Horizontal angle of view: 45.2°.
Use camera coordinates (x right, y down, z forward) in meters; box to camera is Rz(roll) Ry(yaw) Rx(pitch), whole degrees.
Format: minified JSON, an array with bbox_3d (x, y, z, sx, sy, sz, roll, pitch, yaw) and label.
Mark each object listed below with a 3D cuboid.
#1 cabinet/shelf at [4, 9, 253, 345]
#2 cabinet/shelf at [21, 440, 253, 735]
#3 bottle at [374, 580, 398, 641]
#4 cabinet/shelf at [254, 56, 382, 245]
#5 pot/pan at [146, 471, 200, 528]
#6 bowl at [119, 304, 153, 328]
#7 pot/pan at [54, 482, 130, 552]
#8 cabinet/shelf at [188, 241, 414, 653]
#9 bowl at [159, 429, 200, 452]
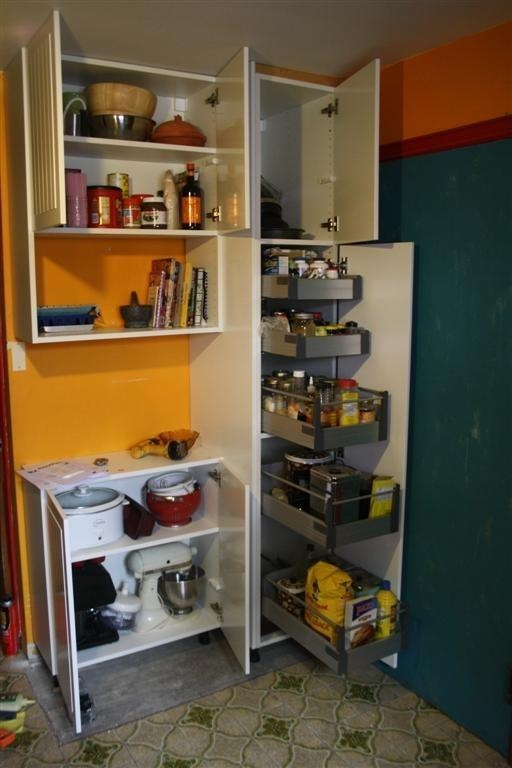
[{"bbox_3d":[-0.372,-0.553,1.897,0.713,0.873,0.697,-4,7,-37],"label":"cabinet/shelf"},{"bbox_3d":[-0.329,0.595,2.041,0.657,0.618,0.499,-5,2,-14],"label":"cabinet/shelf"},{"bbox_3d":[0.401,0.691,1.889,0.069,0.146,0.161,1,6,14],"label":"bottle"},{"bbox_3d":[0.187,-0.765,2.108,0.341,0.519,0.469,-34,49,-26],"label":"cabinet/shelf"},{"bbox_3d":[-0.311,0.420,2.287,0.195,0.137,0.179,-4,4,-24],"label":"pot/pan"},{"bbox_3d":[-0.409,-0.230,2.102,0.092,0.068,0.091,0,8,0],"label":"bowl"},{"bbox_3d":[-0.527,0.430,1.995,0.196,0.159,0.210,-7,16,-29],"label":"pot/pan"},{"bbox_3d":[0.164,0.235,2.099,0.497,1.472,0.691,-2,6,-21],"label":"cabinet/shelf"},{"bbox_3d":[-0.293,0.214,2.362,0.102,0.024,0.085,5,24,9],"label":"bowl"}]
